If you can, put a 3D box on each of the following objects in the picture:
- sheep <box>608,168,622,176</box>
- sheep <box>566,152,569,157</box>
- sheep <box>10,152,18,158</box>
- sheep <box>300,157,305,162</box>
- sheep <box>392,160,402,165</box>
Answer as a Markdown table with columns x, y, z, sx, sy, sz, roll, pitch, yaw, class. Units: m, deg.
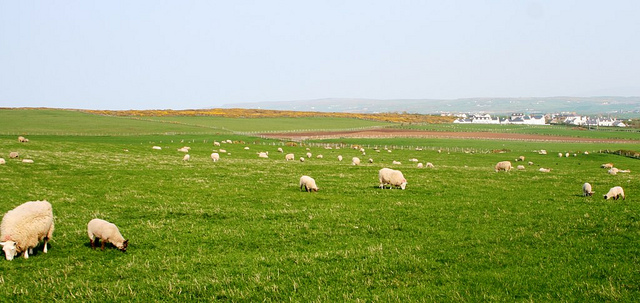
| x | y | z | sx | sy | sz | roll | pitch | yaw | class |
| --- | --- | --- | --- | --- | --- | --- | --- | --- | --- |
| 54.687 | 3.777 | 90.222 | 2.168 | 0.920 | 0.595 | -10 | -2 | -22 | sheep |
| 64.011 | 1.010 | 125.868 | 0.802 | 1.194 | 2.502 | -2 | 7 | 22 | sheep |
| -51.076 | 0.537 | 80.830 | 1.074 | 0.602 | 1.070 | -6 | 15 | -29 | sheep |
| -3.728 | 1.610 | 98.484 | 0.878 | 0.450 | 0.919 | 0 | 5 | 9 | sheep |
| 15.938 | 2.348 | 99.810 | 2.418 | 1.167 | 0.678 | 3 | -14 | -42 | sheep |
